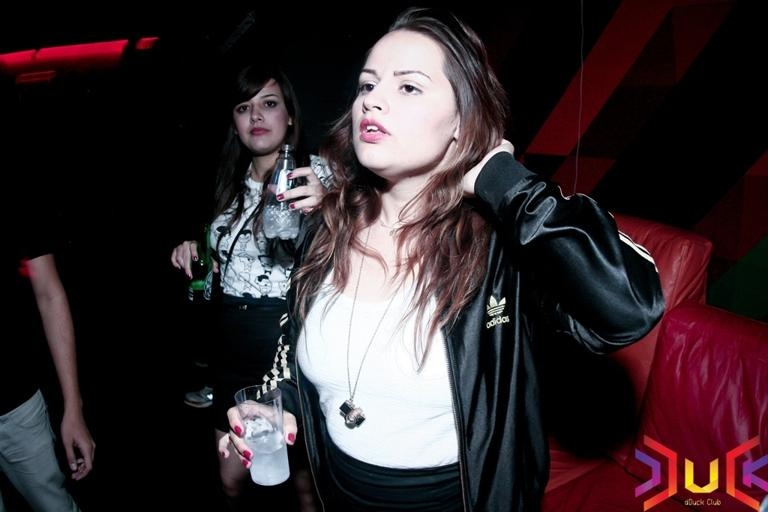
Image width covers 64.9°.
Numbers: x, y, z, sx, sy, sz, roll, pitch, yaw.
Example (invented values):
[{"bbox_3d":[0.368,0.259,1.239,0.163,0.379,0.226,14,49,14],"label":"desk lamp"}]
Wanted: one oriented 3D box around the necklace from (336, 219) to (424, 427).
[{"bbox_3d":[-0.073,0.335,2.926,0.203,0.927,0.377,8,13,-2],"label":"necklace"}]
